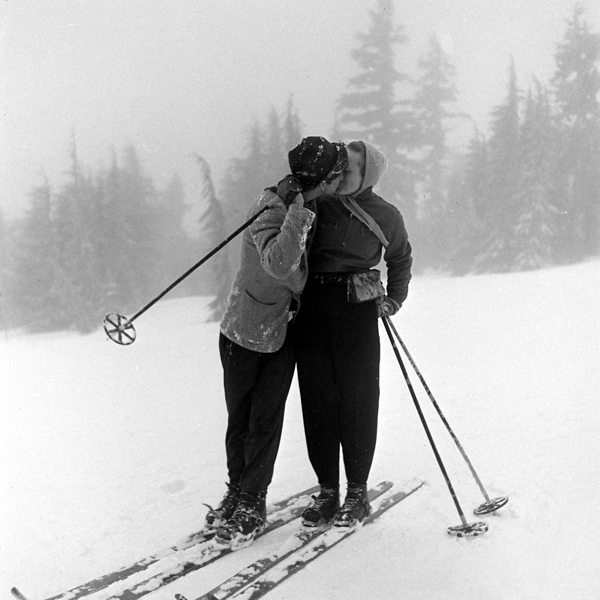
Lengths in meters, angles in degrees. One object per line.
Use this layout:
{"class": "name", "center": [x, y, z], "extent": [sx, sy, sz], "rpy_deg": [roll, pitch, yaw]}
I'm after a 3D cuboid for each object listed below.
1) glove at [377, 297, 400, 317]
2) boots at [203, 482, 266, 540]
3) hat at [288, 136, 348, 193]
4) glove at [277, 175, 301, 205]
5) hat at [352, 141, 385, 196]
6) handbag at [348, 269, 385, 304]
{"class": "glove", "center": [0.617, 0.056, 4.670], "extent": [0.145, 0.130, 0.063], "rpy_deg": [-7, -11, -12]}
{"class": "boots", "center": [-0.412, 1.390, 4.342], "extent": [0.181, 0.268, 0.544], "rpy_deg": [11, -13, 8]}
{"class": "hat", "center": [0.127, -0.862, 4.288], "extent": [0.370, 0.333, 0.160], "rpy_deg": [-5, 6, -32]}
{"class": "glove", "center": [-0.065, -0.680, 4.177], "extent": [0.107, 0.217, 0.154], "rpy_deg": [-4, 13, -38]}
{"class": "hat", "center": [0.476, -0.931, 4.568], "extent": [0.222, 0.357, 0.320], "rpy_deg": [16, 20, 27]}
{"class": "handbag", "center": [0.477, -0.097, 4.579], "extent": [0.116, 0.219, 0.357], "rpy_deg": [3, 7, 43]}
